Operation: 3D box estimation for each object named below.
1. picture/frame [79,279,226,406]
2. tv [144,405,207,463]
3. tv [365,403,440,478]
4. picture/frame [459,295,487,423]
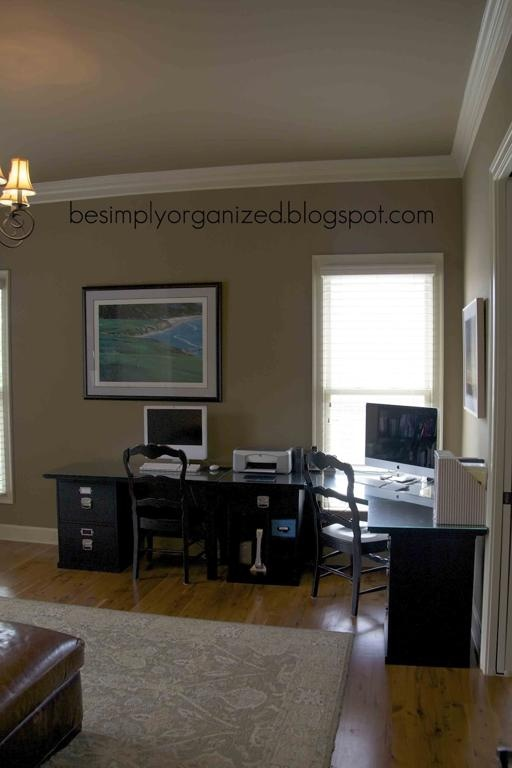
[{"bbox_3d":[-0.680,-0.298,4.221,0.880,0.684,0.033,1,2,13],"label":"picture/frame"},{"bbox_3d":[-0.522,0.318,3.929,0.363,0.356,0.133,-1,1,9],"label":"tv"},{"bbox_3d":[0.893,0.336,3.555,0.162,0.425,0.502,3,0,-41],"label":"tv"},{"bbox_3d":[1.108,-0.127,3.035,0.098,0.562,0.625,0,2,20],"label":"picture/frame"}]
